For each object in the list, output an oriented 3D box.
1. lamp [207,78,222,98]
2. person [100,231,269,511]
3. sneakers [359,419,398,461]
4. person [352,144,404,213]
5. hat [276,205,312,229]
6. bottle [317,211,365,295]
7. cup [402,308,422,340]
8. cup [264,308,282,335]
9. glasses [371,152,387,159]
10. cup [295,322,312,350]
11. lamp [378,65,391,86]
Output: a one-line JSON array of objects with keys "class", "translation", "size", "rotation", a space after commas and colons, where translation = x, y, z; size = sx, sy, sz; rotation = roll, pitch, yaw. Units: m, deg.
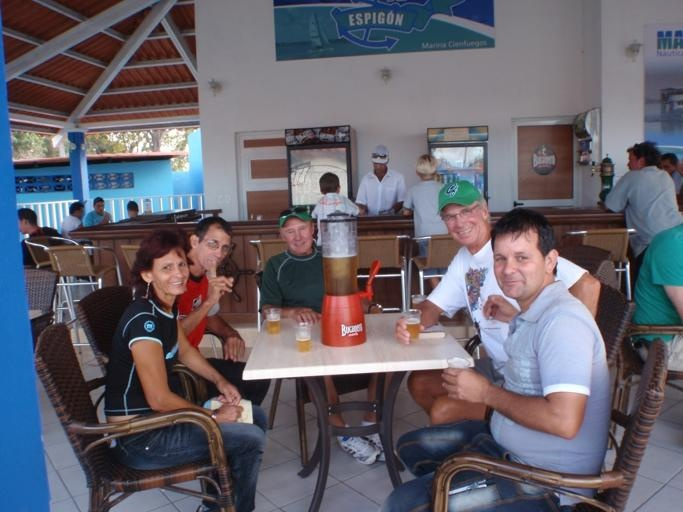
[{"class": "lamp", "translation": [-1.766, -2.350, 7.181], "size": [0.210, 0.229, 0.092], "rotation": [-6, 9, -11]}, {"class": "person", "translation": [-0.668, 0.575, 2.176], "size": [0.647, 1.347, 0.607], "rotation": [-6, 9, -10]}, {"class": "sneakers", "translation": [0.175, 0.993, 2.772], "size": [0.140, 0.170, 0.385], "rotation": [1, -11, -20]}, {"class": "person", "translation": [0.422, -0.761, 6.070], "size": [0.596, 0.971, 0.563], "rotation": [5, 20, 17]}, {"class": "hat", "translation": [-0.271, -0.229, 2.996], "size": [0.173, 0.111, 0.193], "rotation": [-4, 9, 1]}, {"class": "bottle", "translation": [-0.009, -0.018, 2.316], "size": [0.160, 0.341, 0.287], "rotation": [-5, 9, -1]}, {"class": "cup", "translation": [0.310, 0.306, 2.309], "size": [0.099, 0.170, 0.106], "rotation": [-3, 3, 0]}, {"class": "cup", "translation": [-0.328, 0.310, 2.438], "size": [0.098, 0.125, 0.090], "rotation": [-1, -4, 0]}, {"class": "glasses", "translation": [0.435, -1.126, 5.887], "size": [0.164, 0.118, 0.071], "rotation": [-4, 9, 3]}, {"class": "cup", "translation": [-0.157, 0.341, 2.198], "size": [0.085, 0.117, 0.092], "rotation": [-3, 4, 0]}, {"class": "lamp", "translation": [0.582, -2.409, 6.876], "size": [0.173, 0.180, 0.120], "rotation": [1, 1, 4]}]
